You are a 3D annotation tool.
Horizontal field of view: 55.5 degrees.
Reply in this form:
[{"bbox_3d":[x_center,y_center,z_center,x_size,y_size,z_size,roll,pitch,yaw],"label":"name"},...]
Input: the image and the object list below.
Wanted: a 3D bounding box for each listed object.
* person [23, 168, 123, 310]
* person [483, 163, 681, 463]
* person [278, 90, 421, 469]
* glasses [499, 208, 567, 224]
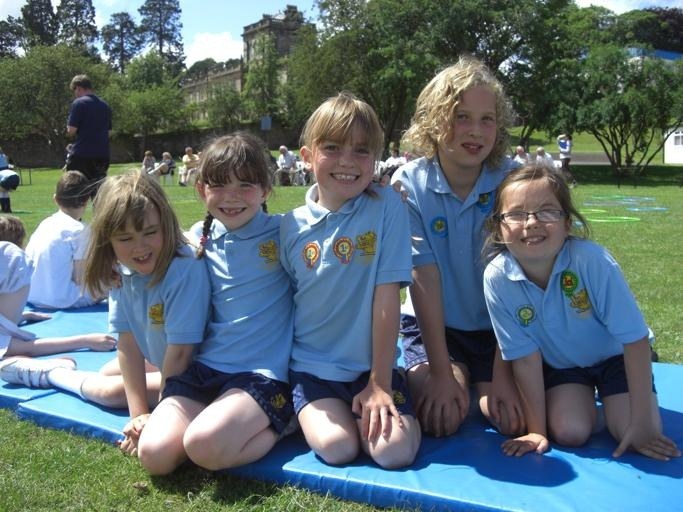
[{"bbox_3d":[-2.622,-0.147,6.186,0.718,1.267,0.764,12,13,10],"label":"person"},{"bbox_3d":[1.347,0.274,3.830,0.985,1.620,0.554,1,8,13],"label":"person"},{"bbox_3d":[0.045,0.082,3.821,0.795,2.085,0.818,-2,8,-6],"label":"person"},{"bbox_3d":[1.151,-0.241,3.868,0.375,0.081,0.103,0,9,7],"label":"glasses"}]
